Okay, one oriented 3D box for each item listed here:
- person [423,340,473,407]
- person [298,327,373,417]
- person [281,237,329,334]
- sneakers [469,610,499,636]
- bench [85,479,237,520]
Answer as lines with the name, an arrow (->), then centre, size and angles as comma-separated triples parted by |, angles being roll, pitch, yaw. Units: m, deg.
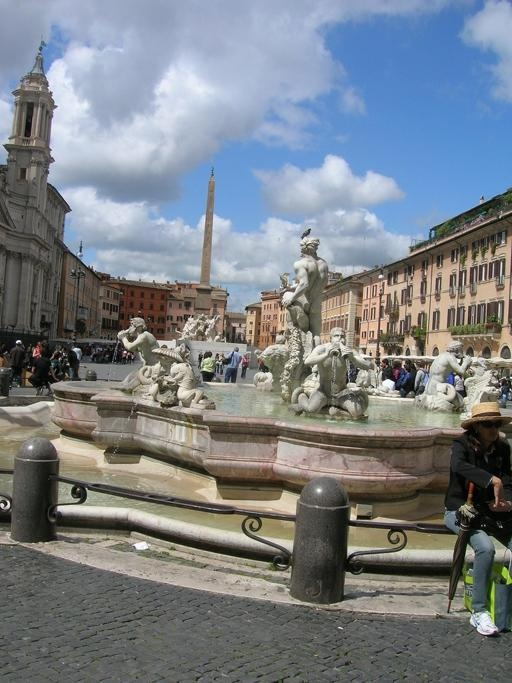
person -> 3.501, 0.641, 10.226 | 0.796, 1.290, 1.299 | 4, -5, 11
person -> 1.041, 0.397, 7.535 | 1.001, 1.259, 1.044 | 5, -5, -1
person -> 1.045, -1.196, 11.726 | 0.883, 2.360, 0.795 | 4, -5, 6
sneakers -> 1.222, 1.522, 3.018 | 0.093, 0.109, 0.184 | 7, -6, -24
bench -> -0.548, 1.150, 3.963 | 1.197, 0.171, 0.517 | 1, -6, 24
